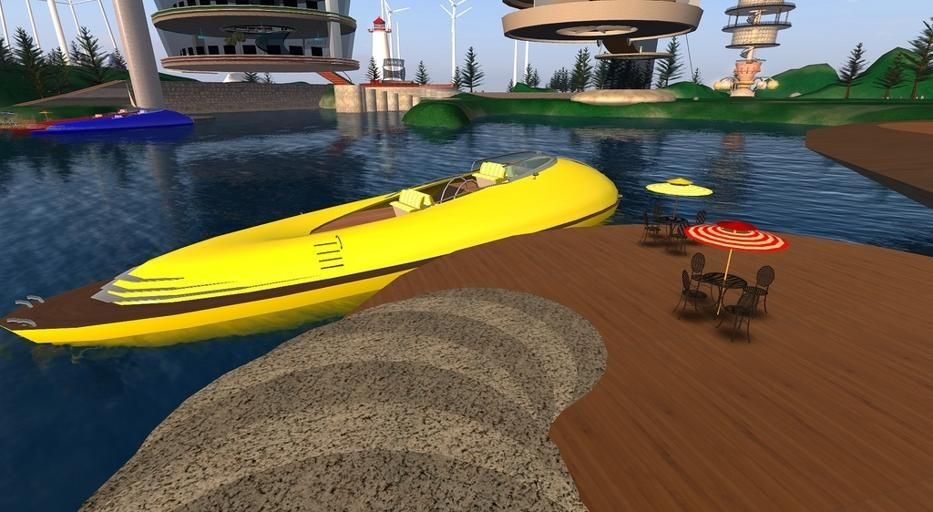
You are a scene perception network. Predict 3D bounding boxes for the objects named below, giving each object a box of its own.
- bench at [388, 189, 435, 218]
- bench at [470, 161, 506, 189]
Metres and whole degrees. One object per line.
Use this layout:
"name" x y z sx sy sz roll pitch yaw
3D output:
"bench" -2.099 -2.029 18.583 0.979 0.973 1.770 -20 30 -34
"bench" 0.919 -3.376 20.355 2.116 0.996 1.061 14 36 28
